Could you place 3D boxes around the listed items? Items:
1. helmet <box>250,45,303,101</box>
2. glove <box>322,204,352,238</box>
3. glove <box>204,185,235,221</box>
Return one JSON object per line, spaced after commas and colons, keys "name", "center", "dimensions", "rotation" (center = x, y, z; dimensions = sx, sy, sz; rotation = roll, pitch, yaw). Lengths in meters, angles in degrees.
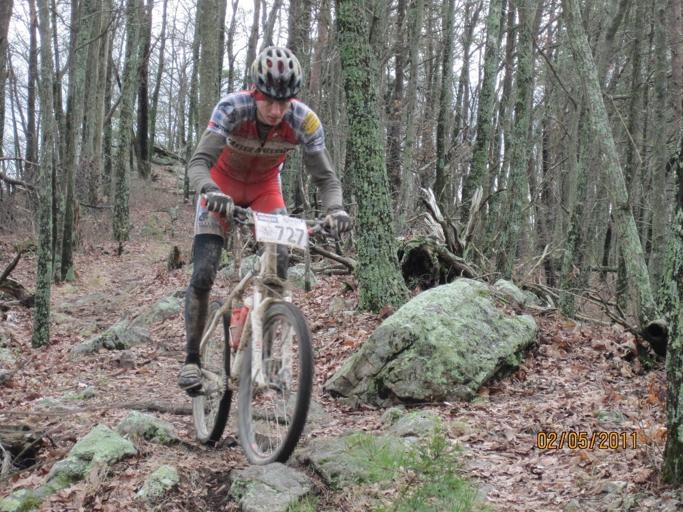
{"name": "helmet", "center": [-0.613, -1.767, 6.051], "dimensions": [0.354, 0.280, 0.582], "rotation": [-3, 49, -18]}
{"name": "glove", "center": [-0.055, -0.311, 6.110], "dimensions": [0.283, 0.248, 0.156], "rotation": [6, 7, -3]}
{"name": "glove", "center": [-1.191, -0.505, 5.946], "dimensions": [0.214, 0.294, 0.348], "rotation": [-2, 11, -45]}
